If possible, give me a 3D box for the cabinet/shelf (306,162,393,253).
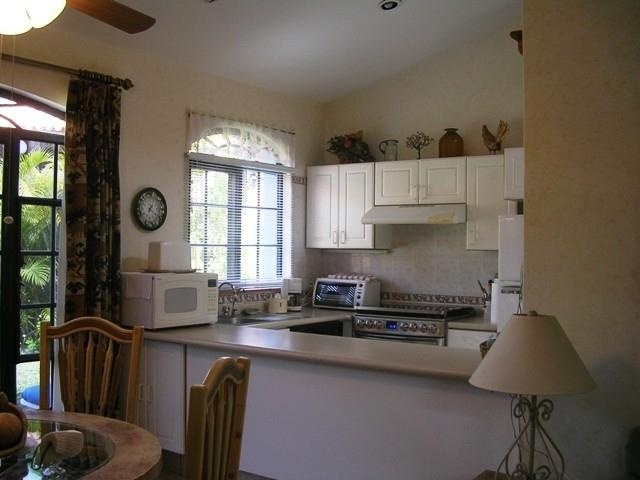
[{"bbox_3d":[0.233,-0.382,5.782,0.759,0.930,0.459,1,11,10],"label":"cabinet/shelf"}]

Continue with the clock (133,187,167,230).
[{"bbox_3d":[-1.442,-0.252,4.330,0.067,0.373,0.338,0,0,32],"label":"clock"}]

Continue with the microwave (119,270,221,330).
[{"bbox_3d":[-1.224,0.399,4.031,0.417,0.434,0.607,-3,-3,39],"label":"microwave"}]

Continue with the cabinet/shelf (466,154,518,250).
[{"bbox_3d":[1.730,-0.388,5.076,0.437,0.847,0.475,1,0,22],"label":"cabinet/shelf"}]

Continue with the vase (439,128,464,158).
[{"bbox_3d":[1.329,-0.980,5.147,0.224,0.313,0.168,0,0,11],"label":"vase"}]

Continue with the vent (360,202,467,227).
[{"bbox_3d":[0.939,-0.263,5.147,1.061,0.197,0.183,0,0,24],"label":"vent"}]

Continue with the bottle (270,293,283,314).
[{"bbox_3d":[-0.450,0.681,5.267,0.129,0.155,0.137,-1,-2,16],"label":"bottle"}]

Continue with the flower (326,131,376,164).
[{"bbox_3d":[0.345,-1.009,5.777,0.408,0.322,0.404,3,8,2],"label":"flower"}]

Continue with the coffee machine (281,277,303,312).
[{"bbox_3d":[-0.301,0.597,5.425,0.199,0.352,0.221,2,-4,-16],"label":"coffee machine"}]
